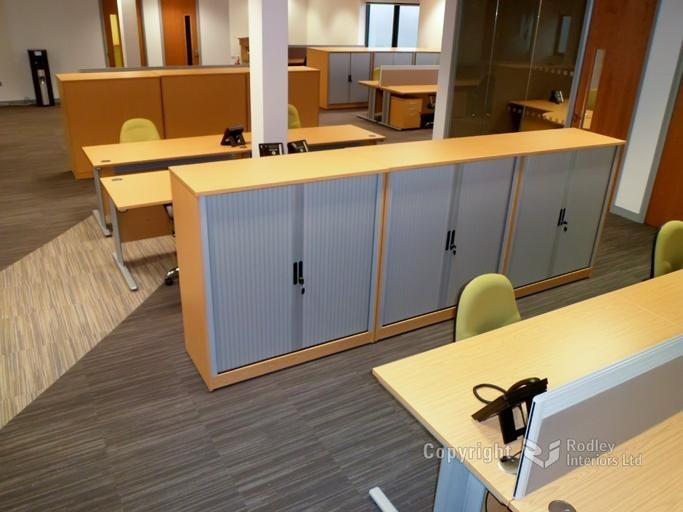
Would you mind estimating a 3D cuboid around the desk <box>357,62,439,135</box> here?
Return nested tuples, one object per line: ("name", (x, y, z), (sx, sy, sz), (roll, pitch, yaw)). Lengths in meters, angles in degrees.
("desk", (1.477, -3.934, 11.446), (1.908, 1.227, 1.838), (-14, 33, -26))

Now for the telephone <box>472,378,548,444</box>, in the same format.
("telephone", (0.854, 0.734, 2.316), (0.323, 0.323, 0.218), (-12, 29, -22))

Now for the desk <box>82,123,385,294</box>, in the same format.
("desk", (-1.109, -0.404, 4.363), (1.851, 0.573, 1.137), (-14, 32, -29))

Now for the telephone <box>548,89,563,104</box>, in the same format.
("telephone", (3.112, -2.339, 6.823), (0.131, 0.199, 0.208), (-22, 28, -35))

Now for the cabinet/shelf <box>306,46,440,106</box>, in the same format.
("cabinet/shelf", (0.746, -5.204, 13.450), (3.479, 1.417, 1.083), (-13, 32, -27))
